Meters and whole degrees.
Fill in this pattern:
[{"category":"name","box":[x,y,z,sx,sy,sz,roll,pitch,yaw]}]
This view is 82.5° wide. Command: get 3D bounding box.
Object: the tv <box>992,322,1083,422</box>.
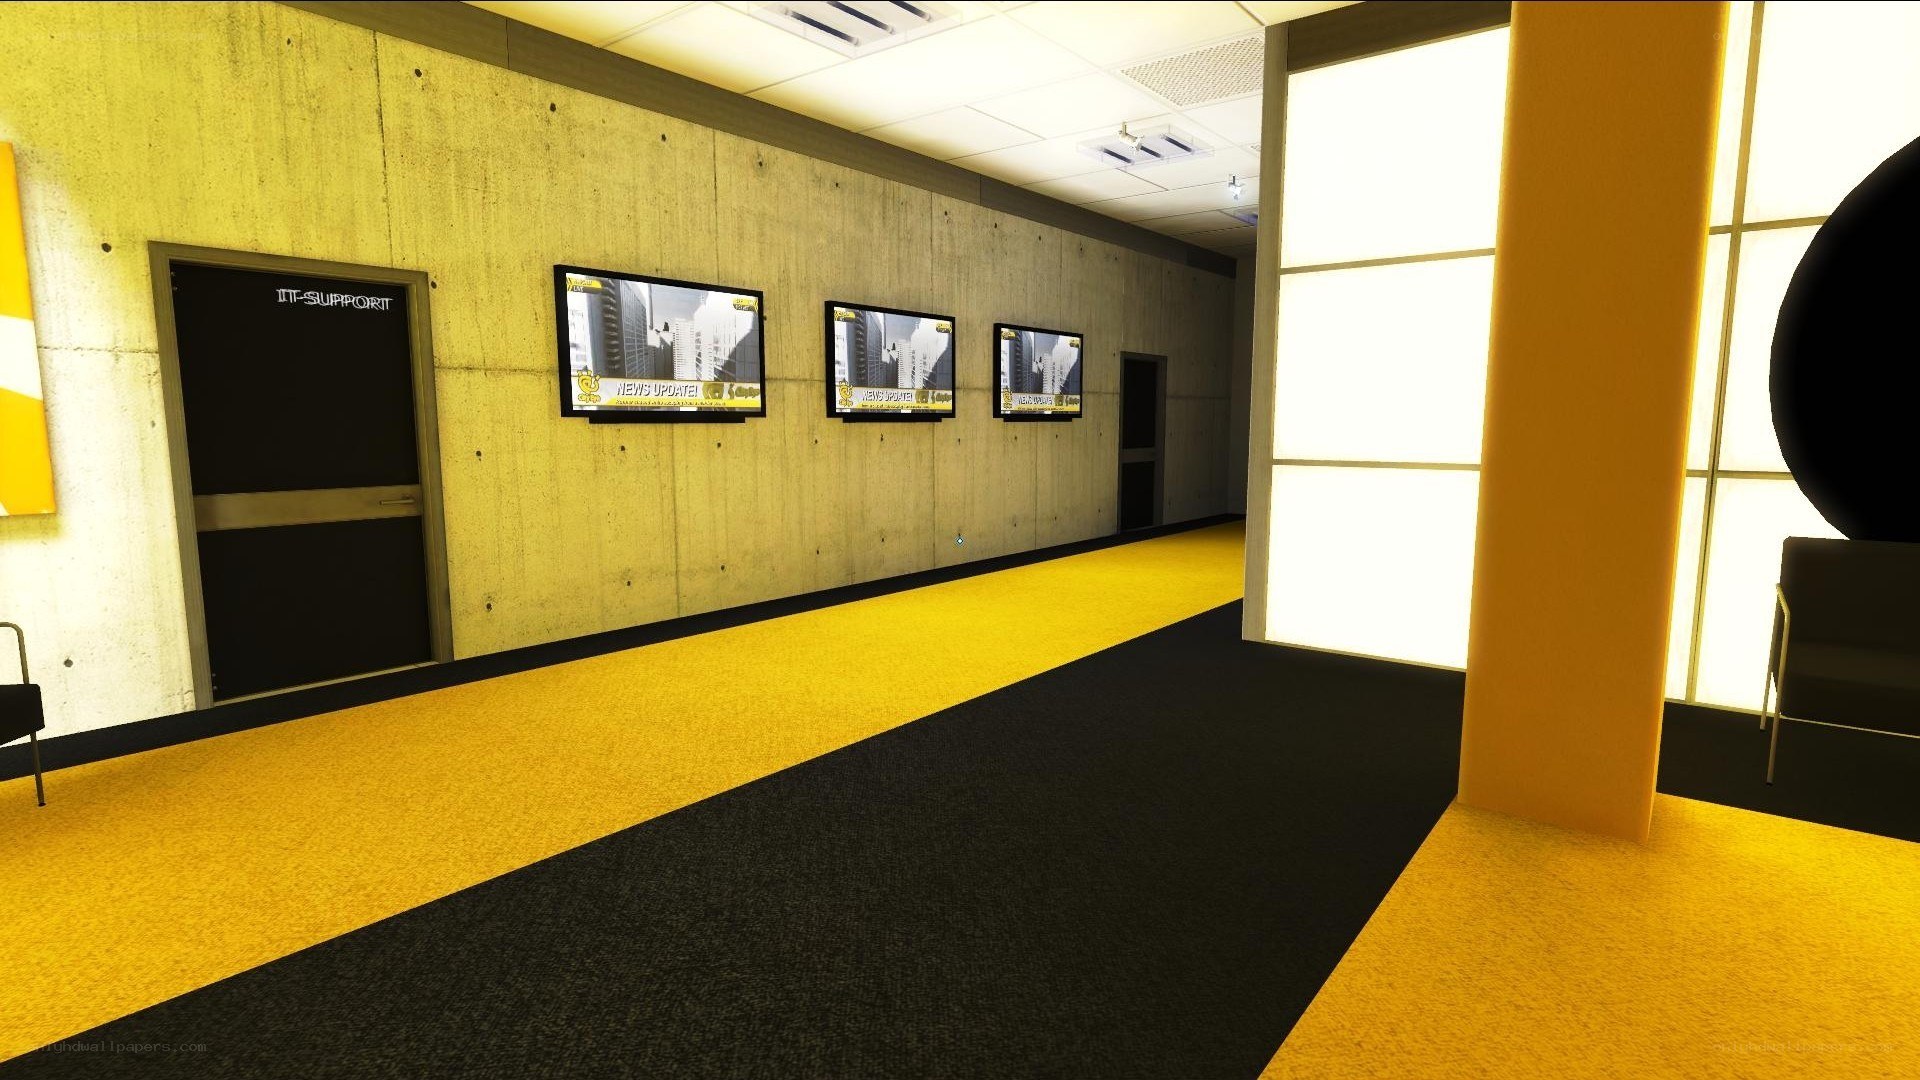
[{"category":"tv","box":[0.805,-1.843,11.989,0.061,0.795,1.292,4,7,36]}]
